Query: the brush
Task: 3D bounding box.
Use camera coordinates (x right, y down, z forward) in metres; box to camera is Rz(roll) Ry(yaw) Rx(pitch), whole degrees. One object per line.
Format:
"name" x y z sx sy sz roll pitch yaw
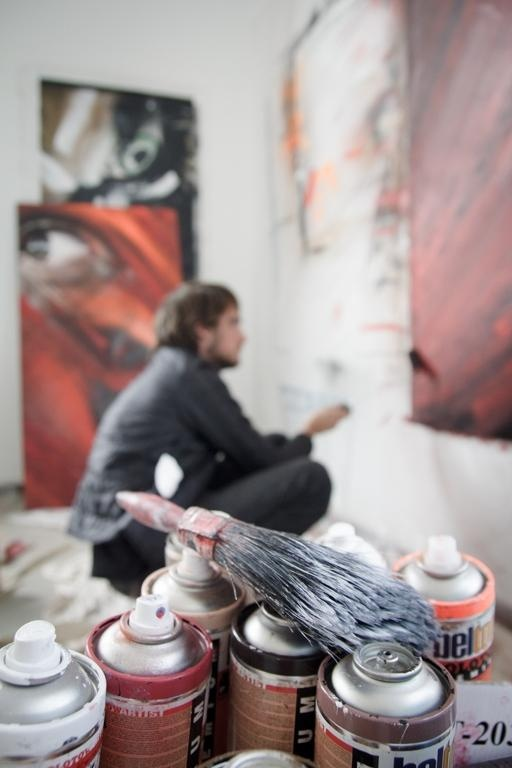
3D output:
"brush" -0.029 0.194 0.773 0.362 0.090 0.168 19 4 25
